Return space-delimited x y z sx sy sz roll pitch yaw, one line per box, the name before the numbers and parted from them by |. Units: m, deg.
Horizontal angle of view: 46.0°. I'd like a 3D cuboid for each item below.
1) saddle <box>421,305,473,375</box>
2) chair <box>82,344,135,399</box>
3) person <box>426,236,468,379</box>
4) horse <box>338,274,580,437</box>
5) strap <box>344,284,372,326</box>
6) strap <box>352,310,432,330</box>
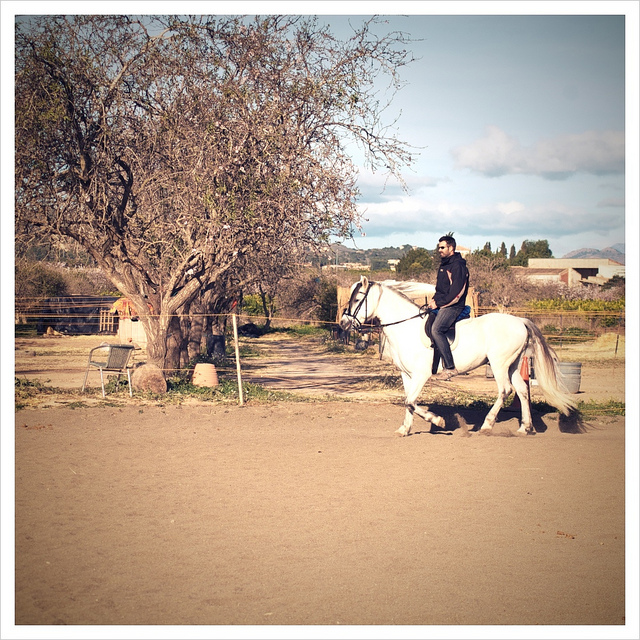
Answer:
saddle | 2.114 0.224 12.789 0.684 1.295 0.747 0 10 -12
chair | -4.651 1.108 16.803 0.833 1.330 0.896 4 5 -37
person | 2.107 -0.278 12.484 0.642 2.310 0.323 -2 0 8
horse | 2.450 0.605 13.391 3.888 2.840 1.322 -2 0 -21
strap | 0.727 -0.292 13.237 0.319 0.553 0.124 14 -8 22
strap | 1.440 -0.018 12.941 1.109 0.306 0.215 -3 -1 42
